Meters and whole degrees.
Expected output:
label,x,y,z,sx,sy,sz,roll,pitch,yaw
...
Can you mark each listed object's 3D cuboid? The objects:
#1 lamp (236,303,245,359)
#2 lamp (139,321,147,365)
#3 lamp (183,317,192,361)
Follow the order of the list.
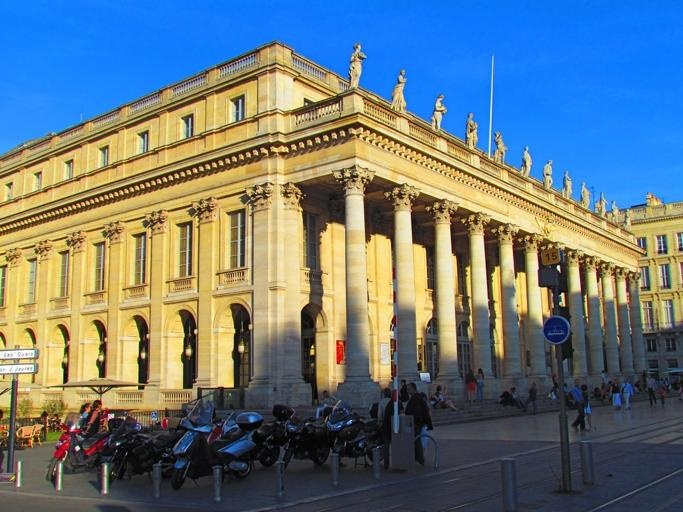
label,x,y,z,sx,sy,sz,roll,pitch,yaw
lamp,-5.541,4.228,37.219,0.492,2.445,1.069,3,-16,-18
lamp,-12.014,5.248,41.133,0.460,2.449,1.844,3,-16,-17
lamp,-8.972,4.858,39.536,0.398,2.393,0.791,10,-19,-36
